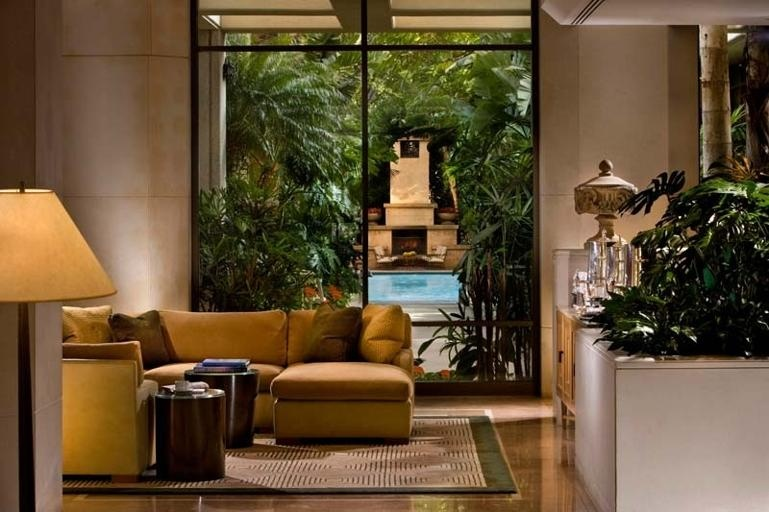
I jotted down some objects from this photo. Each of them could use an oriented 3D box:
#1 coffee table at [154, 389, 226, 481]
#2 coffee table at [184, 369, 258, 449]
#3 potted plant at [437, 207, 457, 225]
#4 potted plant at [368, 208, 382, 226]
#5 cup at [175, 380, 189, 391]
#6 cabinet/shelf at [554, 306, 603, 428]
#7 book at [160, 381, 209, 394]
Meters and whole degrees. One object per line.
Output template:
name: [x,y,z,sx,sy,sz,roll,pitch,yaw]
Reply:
coffee table: [-1.473,1.377,5.486,0.622,0.716,0.636,-1,-2,-3]
coffee table: [-1.375,1.329,5.900,0.593,0.656,0.664,0,-2,-16]
potted plant: [0.722,-0.443,7.904,0.189,0.145,0.188,0,-4,1]
potted plant: [-0.109,-0.440,7.828,0.166,0.166,0.171,0,1,11]
cup: [-1.554,1.003,5.325,0.072,0.058,0.074,1,1,0]
cabinet/shelf: [1.577,0.918,5.581,0.406,0.728,1.183,0,-1,6]
book: [-1.543,1.034,5.399,0.167,0.054,0.171,-1,-4,32]
